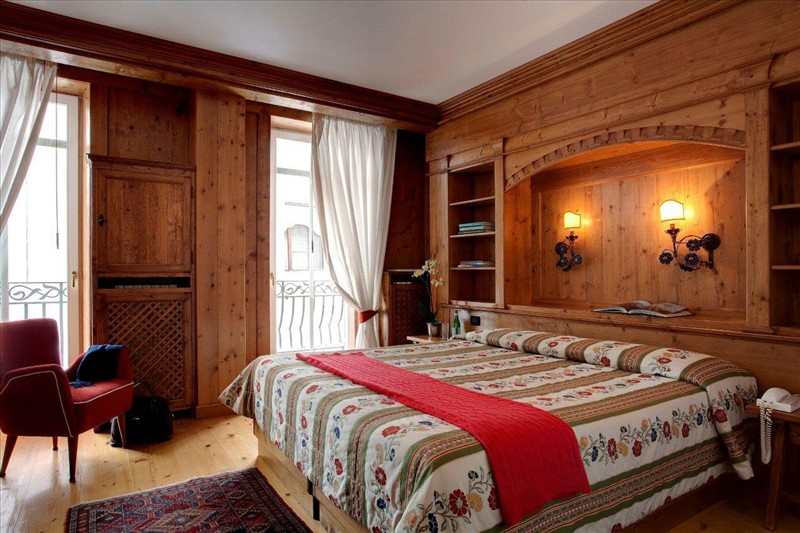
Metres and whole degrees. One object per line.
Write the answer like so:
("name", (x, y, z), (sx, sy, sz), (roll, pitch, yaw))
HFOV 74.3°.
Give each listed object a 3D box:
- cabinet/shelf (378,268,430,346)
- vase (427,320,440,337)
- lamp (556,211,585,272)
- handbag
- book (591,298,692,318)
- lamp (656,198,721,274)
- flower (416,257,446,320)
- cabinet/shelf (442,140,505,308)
("cabinet/shelf", (0.146, 0.525, 6.545), (0.649, 1.081, 0.270), (-2, 34, -2))
("vase", (0.371, 0.714, 6.073), (0.161, 0.111, 0.155), (1, -2, 0))
("lamp", (1.774, -0.257, 5.540), (0.318, 0.630, 0.144), (6, 13, 30))
("handbag", (-2.371, 1.388, 5.012), (0.572, 0.588, 0.282), (-9, -1, 7))
("book", (2.207, 0.379, 4.796), (0.766, 0.123, 0.417), (9, 14, 41))
("lamp", (2.561, -0.270, 4.721), (0.119, 0.633, 0.505), (-9, 14, -38))
("flower", (0.380, 0.295, 6.372), (0.388, 0.872, 0.373), (-4, 9, 17))
("cabinet/shelf", (0.828, -0.424, 6.054), (0.603, 1.699, 1.014), (1, 11, 4))
